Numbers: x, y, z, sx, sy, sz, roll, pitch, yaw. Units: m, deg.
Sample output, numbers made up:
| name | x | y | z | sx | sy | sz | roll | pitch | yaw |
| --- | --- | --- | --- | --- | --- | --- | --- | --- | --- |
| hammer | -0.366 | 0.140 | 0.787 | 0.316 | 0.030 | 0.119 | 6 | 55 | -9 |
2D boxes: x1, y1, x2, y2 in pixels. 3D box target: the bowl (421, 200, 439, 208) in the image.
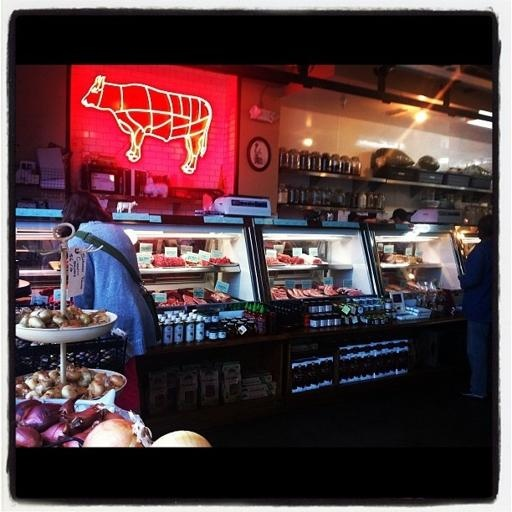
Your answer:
| name | x | y | z | sx | sy | sz | roll | pitch | yaw |
| --- | --- | --- | --- | --- | --- | --- | --- | --- | --- |
| bowl | 2.910 | -0.856 | 7.709 | 0.288 | 0.185 | 0.300 | 0 | -1 | 0 |

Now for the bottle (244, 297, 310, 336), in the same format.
| name | x | y | z | sx | sy | sz | roll | pitch | yaw |
| --- | --- | --- | --- | --- | --- | --- | --- | --- | --- |
| bottle | 0.160 | 0.489 | 3.745 | 0.535 | 0.247 | 0.212 | -3 | -1 | -39 |

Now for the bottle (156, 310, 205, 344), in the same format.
| name | x | y | z | sx | sy | sz | roll | pitch | yaw |
| --- | --- | --- | --- | --- | --- | --- | --- | --- | --- |
| bottle | -0.559 | 0.525 | 3.377 | 0.365 | 0.211 | 0.229 | -3 | 0 | -28 |

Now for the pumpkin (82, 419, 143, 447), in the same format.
| name | x | y | z | sx | sy | sz | roll | pitch | yaw |
| --- | --- | --- | --- | --- | --- | --- | --- | --- | --- |
| pumpkin | -0.533 | 0.621 | 1.681 | 0.114 | 0.081 | 0.133 | -5 | 4 | -45 |

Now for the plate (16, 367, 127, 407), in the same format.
| name | x | y | z | sx | sy | sz | roll | pitch | yaw |
| --- | --- | --- | --- | --- | --- | --- | --- | --- | --- |
| plate | -0.794 | 0.561 | 1.986 | 0.437 | 0.132 | 0.302 | -3 | 0 | -27 |

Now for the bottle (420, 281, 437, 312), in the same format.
| name | x | y | z | sx | sy | sz | roll | pitch | yaw |
| --- | --- | --- | --- | --- | --- | --- | --- | --- | --- |
| bottle | 1.801 | 0.415 | 4.812 | 0.164 | 0.278 | 0.084 | 6 | -9 | 9 |
